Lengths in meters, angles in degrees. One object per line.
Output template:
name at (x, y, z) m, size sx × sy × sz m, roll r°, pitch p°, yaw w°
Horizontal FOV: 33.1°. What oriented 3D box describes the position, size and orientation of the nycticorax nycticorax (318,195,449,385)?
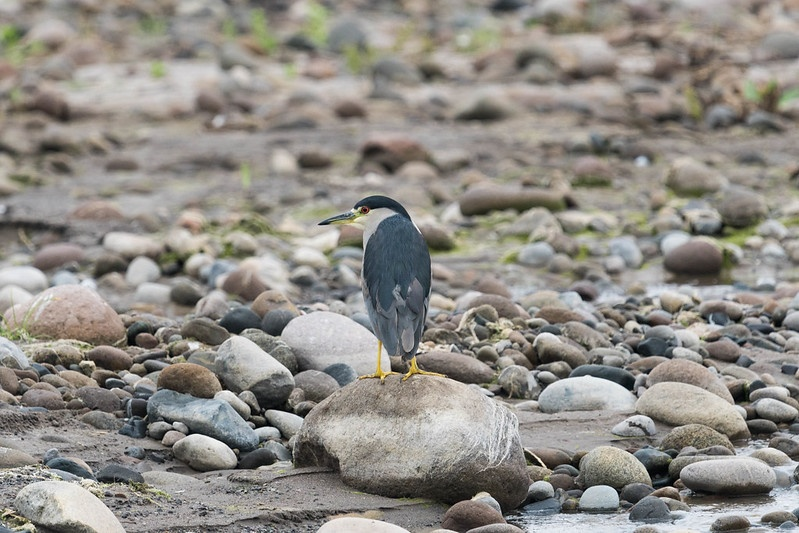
nycticorax nycticorax at (-0.081, 0.210, 14.907) m, size 0.905 × 1.822 × 1.265 m, roll 0°, pitch 0°, yaw 37°
